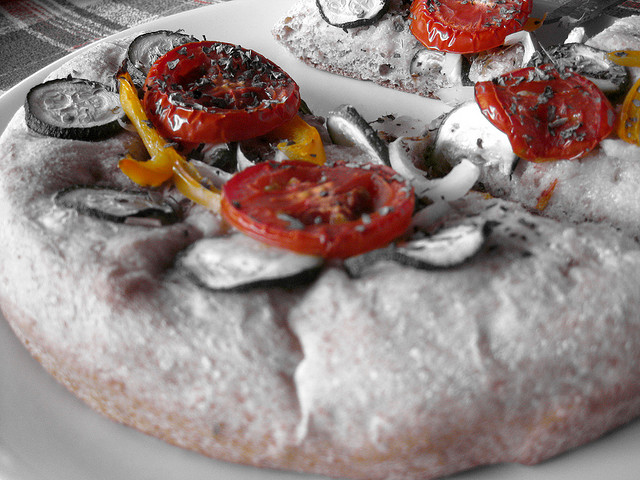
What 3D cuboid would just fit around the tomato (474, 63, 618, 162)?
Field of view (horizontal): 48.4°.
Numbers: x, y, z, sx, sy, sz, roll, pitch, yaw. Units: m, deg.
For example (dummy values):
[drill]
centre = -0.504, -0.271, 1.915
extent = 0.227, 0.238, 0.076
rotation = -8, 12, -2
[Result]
[tomato]
centre = 0.776, -0.446, 2.479
extent = 0.389, 0.123, 0.405
rotation = -31, 61, -9
